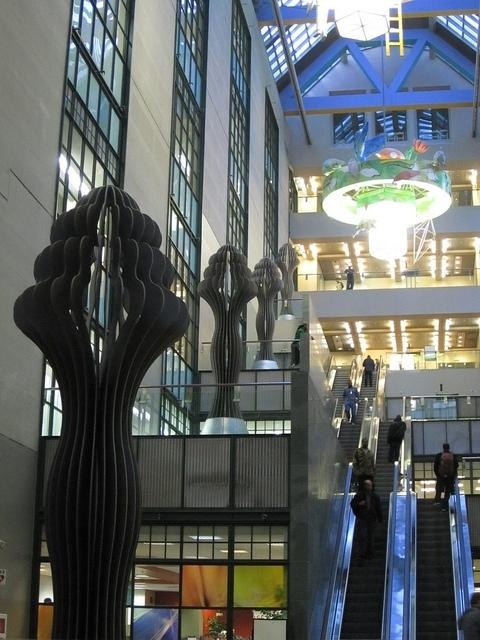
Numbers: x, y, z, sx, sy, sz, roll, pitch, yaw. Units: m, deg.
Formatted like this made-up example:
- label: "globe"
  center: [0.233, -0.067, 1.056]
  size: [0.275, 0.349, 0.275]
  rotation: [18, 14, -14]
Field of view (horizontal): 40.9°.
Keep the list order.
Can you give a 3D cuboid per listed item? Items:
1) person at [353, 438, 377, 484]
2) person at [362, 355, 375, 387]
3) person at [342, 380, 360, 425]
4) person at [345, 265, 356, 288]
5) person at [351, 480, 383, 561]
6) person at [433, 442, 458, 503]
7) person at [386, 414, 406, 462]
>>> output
- label: "person"
  center: [2.460, 2.844, 12.833]
  size: [0.357, 0.893, 1.372]
  rotation: [-2, -14, 9]
- label: "person"
  center: [5.479, 2.239, 27.486]
  size: [0.444, 2.088, 0.605]
  rotation: [-3, -31, 14]
- label: "person"
  center: [3.314, 2.493, 19.304]
  size: [0.442, 1.251, 0.839]
  rotation: [-2, -11, 13]
- label: "person"
  center: [6.109, -2.342, 35.899]
  size: [0.509, 1.223, 0.924]
  rotation: [-2, -12, 13]
- label: "person"
  center: [2.277, 3.589, 11.566]
  size: [0.513, 1.324, 0.514]
  rotation: [-1, -10, 5]
- label: "person"
  center: [4.396, 3.272, 13.808]
  size: [0.471, 1.273, 1.226]
  rotation: [-3, -13, 18]
- label: "person"
  center: [3.870, 3.060, 16.016]
  size: [0.316, 1.325, 0.546]
  rotation: [0, -43, 23]
